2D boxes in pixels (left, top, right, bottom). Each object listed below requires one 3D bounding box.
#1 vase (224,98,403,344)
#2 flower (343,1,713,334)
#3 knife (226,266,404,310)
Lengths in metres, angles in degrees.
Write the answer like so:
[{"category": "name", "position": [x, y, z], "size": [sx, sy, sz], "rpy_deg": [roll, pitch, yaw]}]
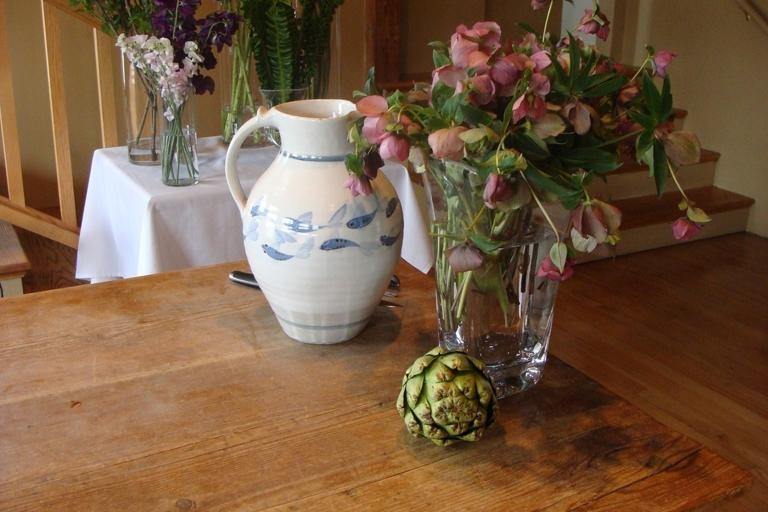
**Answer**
[{"category": "vase", "position": [-0.122, -0.076, 1.128], "size": [0.352, 0.455, 0.350], "rpy_deg": [-4, 10, -25]}, {"category": "flower", "position": [0.138, -0.166, 0.966], "size": [0.432, 0.456, 0.390], "rpy_deg": [-2, 26, -7]}, {"category": "knife", "position": [-0.118, 0.063, 1.171], "size": [0.336, 0.118, 0.031], "rpy_deg": [5, -12, 11]}]
